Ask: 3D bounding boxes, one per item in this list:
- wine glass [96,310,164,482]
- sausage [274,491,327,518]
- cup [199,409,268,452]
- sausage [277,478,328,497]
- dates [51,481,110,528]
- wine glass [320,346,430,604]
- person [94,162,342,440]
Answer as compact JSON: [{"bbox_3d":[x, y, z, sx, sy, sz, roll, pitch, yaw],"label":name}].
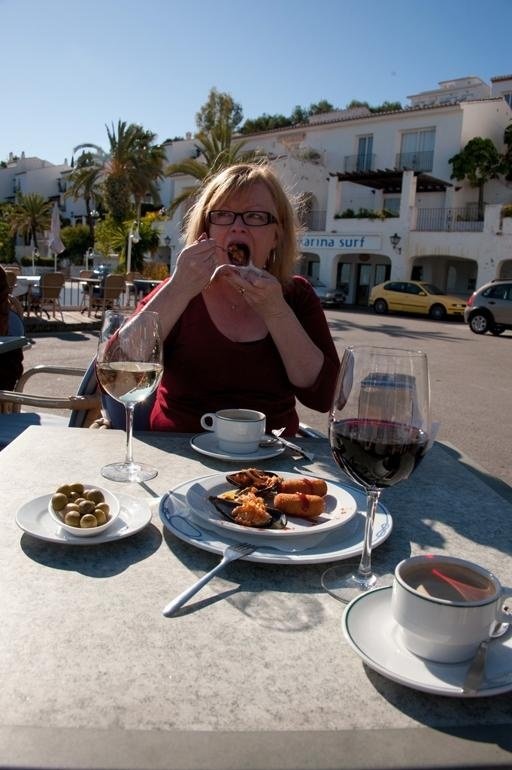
[{"bbox_3d":[-0.273,0.022,1.264,0.155,0.339,0.178,12,8,36],"label":"wine glass"},{"bbox_3d":[0.078,0.202,1.000,0.083,0.042,0.038,3,-2,18],"label":"sausage"},{"bbox_3d":[-0.040,0.098,1.464,0.136,0.102,0.217,2,6,21],"label":"cup"},{"bbox_3d":[0.088,0.187,1.072,0.079,0.033,0.037,-1,-9,6],"label":"sausage"},{"bbox_3d":[-0.270,0.186,0.933,0.083,0.060,0.076,9,12,33],"label":"dates"},{"bbox_3d":[0.167,0.137,0.866,0.135,0.335,0.139,3,0,27],"label":"wine glass"},{"bbox_3d":[-0.077,-0.221,2.113,0.542,1.312,0.667,0,1,-2],"label":"person"}]
